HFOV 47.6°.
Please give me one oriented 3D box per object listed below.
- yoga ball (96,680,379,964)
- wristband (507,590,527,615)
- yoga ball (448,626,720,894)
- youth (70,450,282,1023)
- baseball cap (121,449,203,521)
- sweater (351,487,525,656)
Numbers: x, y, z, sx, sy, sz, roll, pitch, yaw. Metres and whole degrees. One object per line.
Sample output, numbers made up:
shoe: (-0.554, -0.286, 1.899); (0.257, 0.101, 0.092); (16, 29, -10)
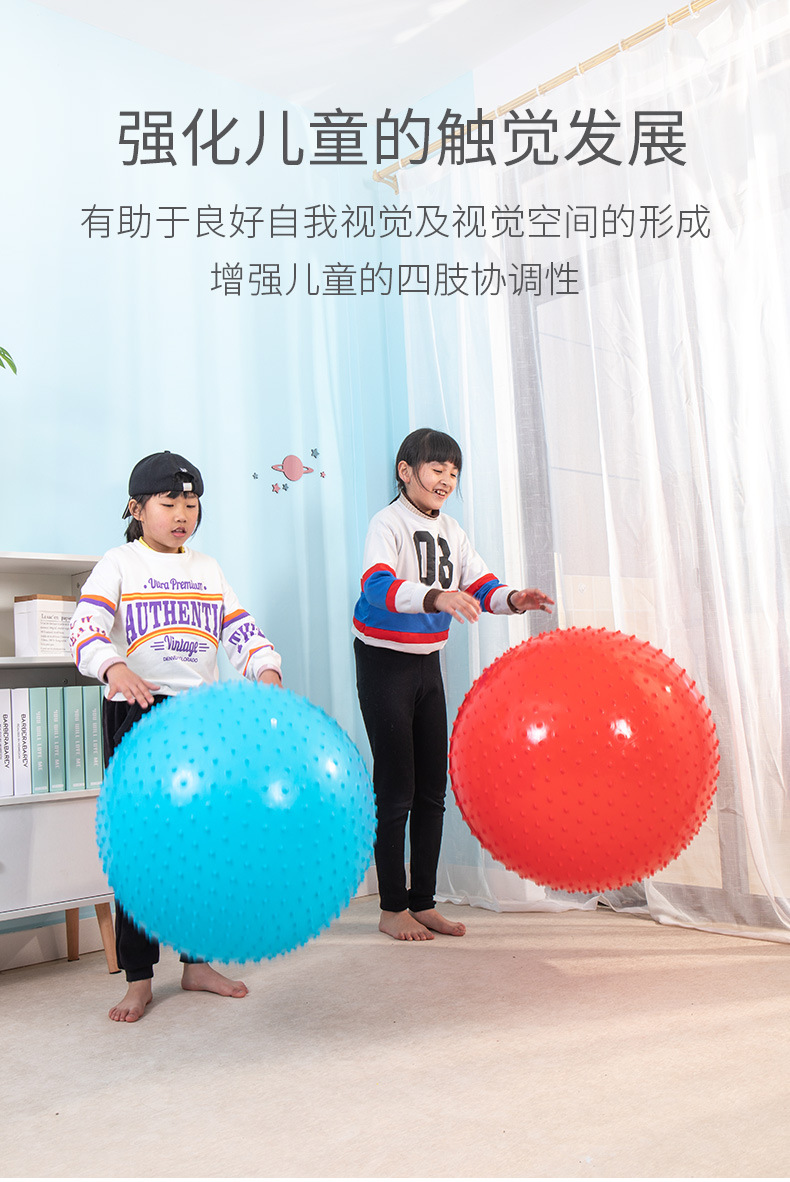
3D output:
yoga ball: (-0.201, 0.293, 1.249); (0.325, 0.377, 0.342); (3, -14, 1)
wristband: (0.263, 0.024, 1.936); (0.027, 0.046, 0.013); (-36, 11, -36)
yoga ball: (0.248, 0.231, 1.446); (0.368, 0.430, 0.378); (-1, -9, 0)
youth: (-0.368, 0.225, 1.570); (0.350, 1.003, 0.325); (-1, -3, -33)
baseball cap: (-0.403, -0.192, 1.645); (0.111, 0.102, 0.170); (6, 5, -2)
sweater: (0.052, -0.062, 2.094); (0.310, 0.394, 0.378); (-5, 8, -38)
